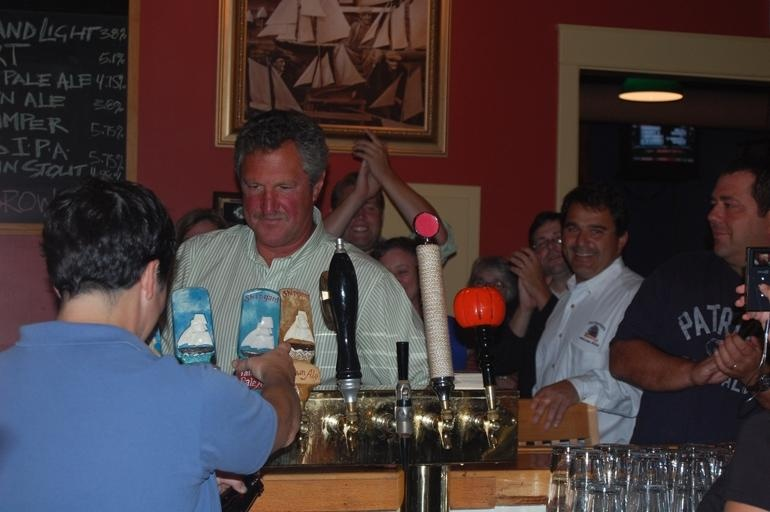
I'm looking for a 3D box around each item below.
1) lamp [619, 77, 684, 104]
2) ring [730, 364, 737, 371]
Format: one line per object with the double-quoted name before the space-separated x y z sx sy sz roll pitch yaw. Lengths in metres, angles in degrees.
"lamp" 1.703 -1.069 5.043 0.215 0.083 0.221 0 1 -15
"ring" 1.179 0.378 2.649 0.021 0.023 0.005 1 1 10
